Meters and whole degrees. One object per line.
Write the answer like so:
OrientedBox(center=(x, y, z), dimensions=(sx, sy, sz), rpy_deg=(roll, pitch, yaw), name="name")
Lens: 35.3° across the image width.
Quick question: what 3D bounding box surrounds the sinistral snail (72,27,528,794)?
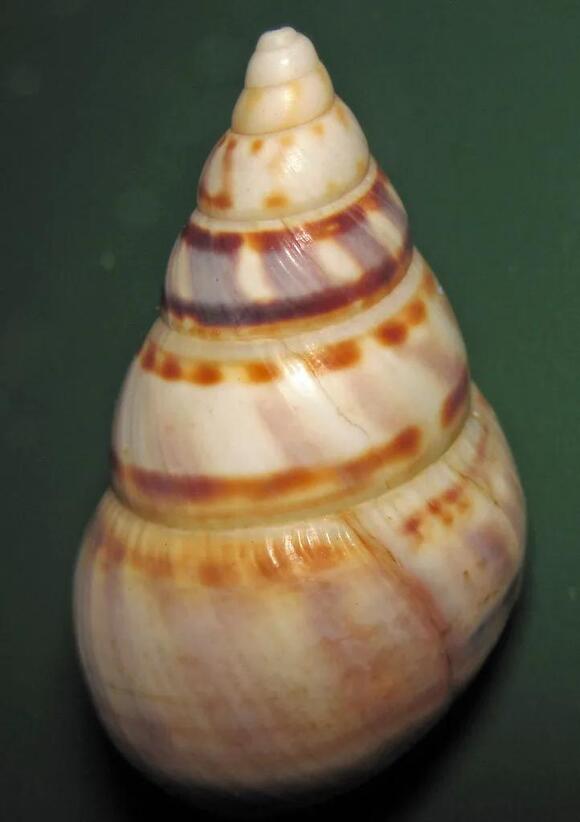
OrientedBox(center=(0.016, 0.008, 0.739), dimensions=(0.388, 0.614, 0.214), rpy_deg=(-4, 20, -14), name="sinistral snail")
